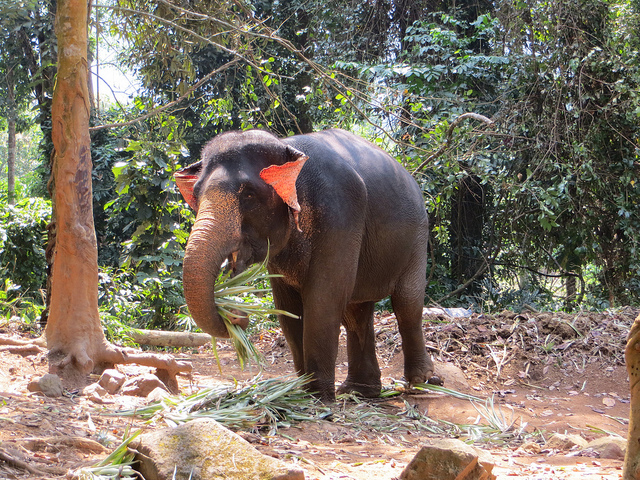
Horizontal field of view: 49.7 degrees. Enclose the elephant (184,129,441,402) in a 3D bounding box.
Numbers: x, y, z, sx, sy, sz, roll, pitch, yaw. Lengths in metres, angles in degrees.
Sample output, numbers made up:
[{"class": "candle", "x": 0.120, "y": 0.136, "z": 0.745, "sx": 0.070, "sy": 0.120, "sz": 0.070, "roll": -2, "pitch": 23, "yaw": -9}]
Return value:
[{"class": "elephant", "x": 0.014, "y": 0.322, "z": 7.510, "sx": 3.324, "sy": 2.899, "sz": 1.758, "roll": 6, "pitch": -7, "yaw": -43}]
